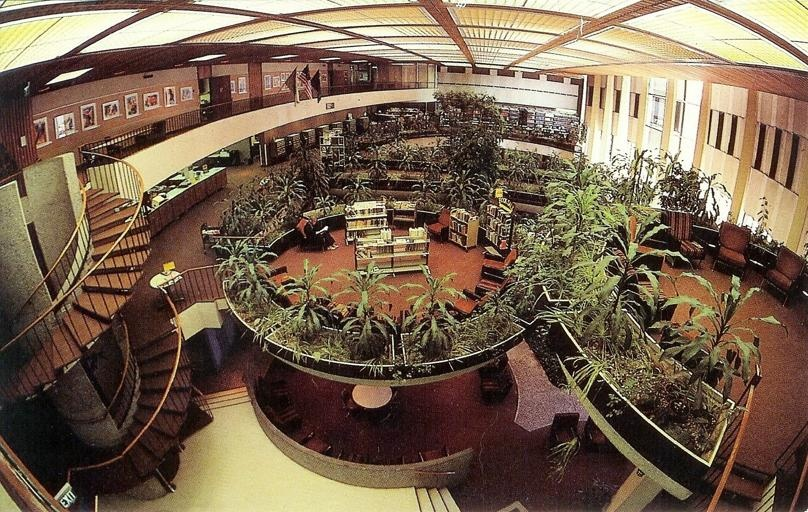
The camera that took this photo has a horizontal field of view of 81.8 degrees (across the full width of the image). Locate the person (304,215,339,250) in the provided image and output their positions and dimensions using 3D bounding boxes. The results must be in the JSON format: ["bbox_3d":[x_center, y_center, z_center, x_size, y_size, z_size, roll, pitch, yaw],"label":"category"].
[{"bbox_3d":[-3.532,-0.976,18.563,1.210,1.276,1.122,10,24,-3],"label":"person"}]

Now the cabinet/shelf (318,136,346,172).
[{"bbox_3d":[-3.702,-5.202,24.296,1.348,1.783,1.053,-4,-13,-4],"label":"cabinet/shelf"}]

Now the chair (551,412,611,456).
[{"bbox_3d":[5.250,5.206,14.030,1.752,0.954,0.885,-1,21,0],"label":"chair"}]

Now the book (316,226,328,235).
[{"bbox_3d":[-3.251,-1.031,18.450,0.194,0.141,0.755,16,13,1],"label":"book"}]

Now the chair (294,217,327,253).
[{"bbox_3d":[-3.572,-0.909,18.731,1.350,1.360,1.106,-5,41,0],"label":"chair"}]

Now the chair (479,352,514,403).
[{"bbox_3d":[3.136,4.023,15.356,1.180,1.234,0.941,-2,21,-2],"label":"chair"}]
